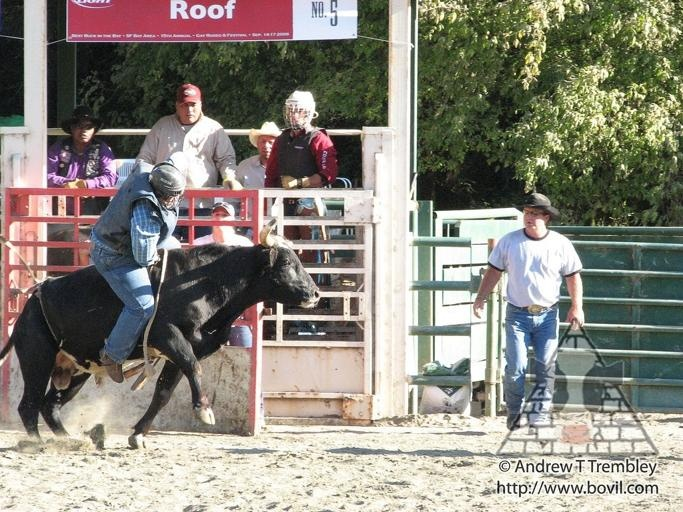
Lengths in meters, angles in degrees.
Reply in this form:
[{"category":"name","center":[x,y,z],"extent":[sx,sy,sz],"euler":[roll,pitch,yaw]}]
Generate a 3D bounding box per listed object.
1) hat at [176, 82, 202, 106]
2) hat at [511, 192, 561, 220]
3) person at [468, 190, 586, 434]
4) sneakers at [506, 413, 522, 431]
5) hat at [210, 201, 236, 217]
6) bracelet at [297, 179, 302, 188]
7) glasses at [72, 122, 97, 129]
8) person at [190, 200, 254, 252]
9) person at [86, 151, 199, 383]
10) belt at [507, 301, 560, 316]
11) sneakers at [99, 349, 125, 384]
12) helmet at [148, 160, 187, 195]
[{"category":"hat","center":[-1.894,-1.976,22.019],"extent":[0.233,0.181,0.329],"euler":[0,5,-17]},{"category":"hat","center":[2.534,-0.644,23.100],"extent":[0.528,0.169,0.439],"euler":[30,-19,-38]},{"category":"person","center":[2.127,0.629,20.189],"extent":[1.162,2.546,0.363],"euler":[1,0,5]},{"category":"sneakers","center":[1.933,1.877,20.159],"extent":[0.186,0.172,0.169],"euler":[-4,0,2]},{"category":"hat","center":[-1.325,-0.547,20.459],"extent":[0.248,0.165,0.384],"euler":[1,-8,1]},{"category":"bracelet","center":[-0.499,-0.865,21.292],"extent":[0.063,0.096,0.198],"euler":[1,0,-4]},{"category":"glasses","center":[-3.084,-1.574,21.543],"extent":[0.324,0.082,0.088],"euler":[1,0,-26]},{"category":"person","center":[-1.371,-0.289,20.488],"extent":[0.881,0.586,0.487],"euler":[0,-13,1]},{"category":"person","center":[-2.193,0.121,19.145],"extent":[1.013,2.446,0.500],"euler":[1,0,6]},{"category":"belt","center":[2.141,0.593,20.123],"extent":[0.548,0.121,0.174],"euler":[1,0,0]},{"category":"sneakers","center":[-2.480,1.211,19.333],"extent":[0.216,0.373,0.080],"euler":[-20,25,35]},{"category":"helmet","center":[-1.856,-0.825,19.064],"extent":[0.397,0.292,0.324],"euler":[20,4,-23]}]
